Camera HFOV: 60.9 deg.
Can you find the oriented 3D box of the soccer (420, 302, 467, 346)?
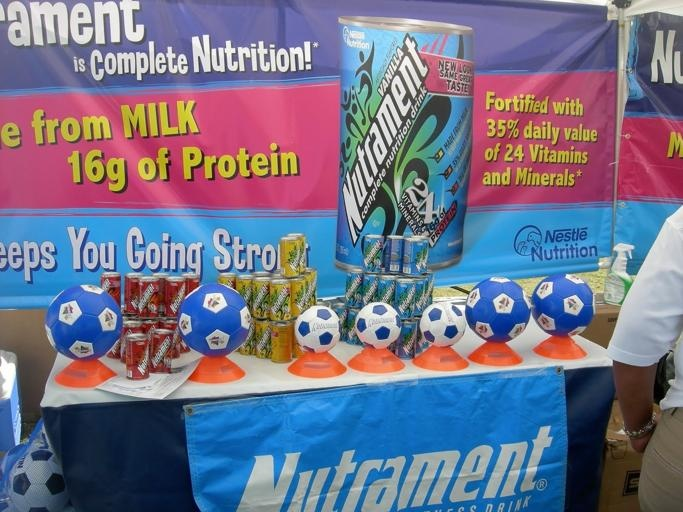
[{"bbox_3d":[0.443,0.268,2.531,0.170,0.229,0.173,1,4,11],"label":"soccer"}]

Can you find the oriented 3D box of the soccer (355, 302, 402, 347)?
[{"bbox_3d":[0.165,0.288,2.475,0.159,0.185,0.212,12,-38,15],"label":"soccer"}]

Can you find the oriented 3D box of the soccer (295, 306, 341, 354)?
[{"bbox_3d":[-0.099,0.303,2.401,0.168,0.218,0.174,10,-32,0],"label":"soccer"}]

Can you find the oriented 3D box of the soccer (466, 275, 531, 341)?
[{"bbox_3d":[0.700,0.246,2.616,0.244,0.275,0.305,-1,12,17],"label":"soccer"}]

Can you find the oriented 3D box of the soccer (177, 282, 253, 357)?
[{"bbox_3d":[-0.509,0.295,2.422,0.267,0.346,0.263,14,-24,-19],"label":"soccer"}]

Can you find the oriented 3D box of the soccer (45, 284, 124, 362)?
[{"bbox_3d":[-0.969,0.238,2.330,0.261,0.349,0.274,4,13,-2],"label":"soccer"}]
